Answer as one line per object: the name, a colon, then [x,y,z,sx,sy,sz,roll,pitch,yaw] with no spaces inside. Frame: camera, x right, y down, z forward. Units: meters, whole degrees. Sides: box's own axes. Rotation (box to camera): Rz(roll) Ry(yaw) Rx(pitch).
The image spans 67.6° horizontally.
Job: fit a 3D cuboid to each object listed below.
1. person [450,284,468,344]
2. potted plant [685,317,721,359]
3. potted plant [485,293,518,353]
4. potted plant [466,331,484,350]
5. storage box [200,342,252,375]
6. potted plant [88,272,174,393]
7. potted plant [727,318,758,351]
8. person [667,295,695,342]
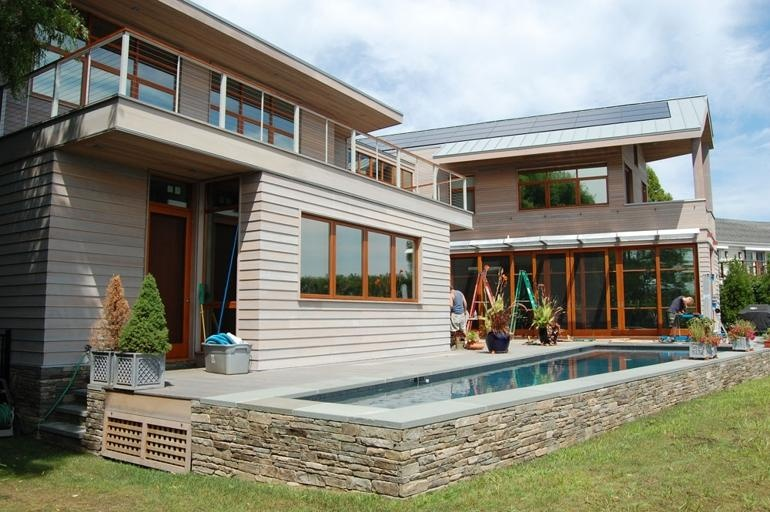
person: [2.390,2.006,19.370,0.732,1.970,0.684,-3,5,-17]
potted plant: [7.814,2.032,14.079,0.612,0.889,1.466,1,6,29]
potted plant: [3.336,2.125,16.927,0.773,1.526,1.447,-1,5,10]
potted plant: [2.868,2.699,18.292,0.580,0.481,0.564,4,-11,-24]
storage box: [-3.246,2.133,11.853,0.786,0.492,0.613,-9,-13,35]
potted plant: [-4.637,1.385,10.282,1.831,2.108,1.249,-6,-11,32]
potted plant: [9.900,2.186,16.130,0.995,1.000,0.777,4,-6,-44]
person: [10.236,2.152,19.826,0.595,0.759,1.395,0,-37,18]
